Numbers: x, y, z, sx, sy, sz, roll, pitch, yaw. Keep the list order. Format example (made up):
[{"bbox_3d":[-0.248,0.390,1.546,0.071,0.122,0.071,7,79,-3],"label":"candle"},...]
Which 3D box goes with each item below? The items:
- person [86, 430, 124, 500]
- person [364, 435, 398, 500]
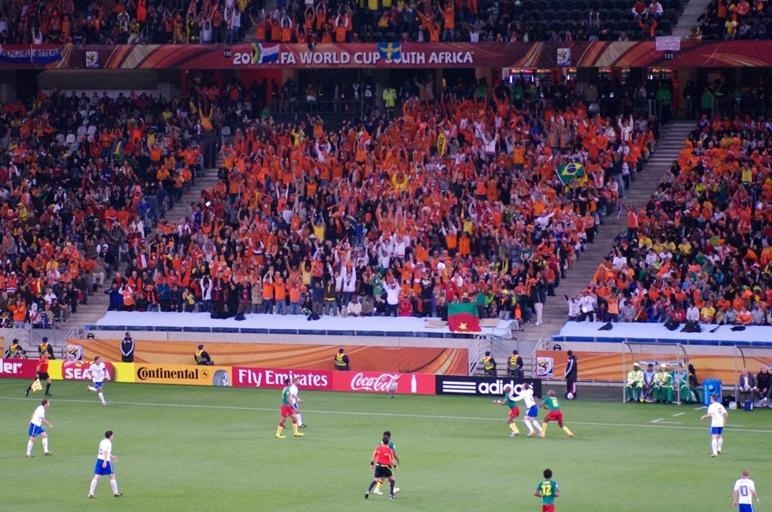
[{"bbox_3d":[-13.059,9.489,81.485,1.456,3.120,0.965,-2,5,-36],"label":"person"},{"bbox_3d":[-0.201,9.571,81.083,1.452,2.872,0.810,0,6,-8],"label":"person"}]
